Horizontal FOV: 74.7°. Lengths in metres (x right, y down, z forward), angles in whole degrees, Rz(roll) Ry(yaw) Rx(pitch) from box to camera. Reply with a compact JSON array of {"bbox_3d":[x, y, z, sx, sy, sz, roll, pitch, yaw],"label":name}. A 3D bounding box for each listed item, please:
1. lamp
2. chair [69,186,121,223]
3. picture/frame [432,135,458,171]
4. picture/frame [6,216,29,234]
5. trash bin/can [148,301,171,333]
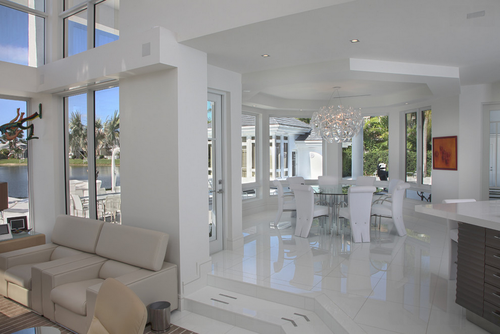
[{"bbox_3d":[1.956,-1.341,8.492,1.838,1.473,1.362,-1,0,23],"label":"lamp"},{"bbox_3d":[-2.957,0.751,6.338,0.997,0.464,0.688,5,8,25],"label":"chair"},{"bbox_3d":[4.805,-0.336,8.068,0.071,0.984,0.876,-1,3,-23],"label":"picture/frame"},{"bbox_3d":[-4.351,1.064,6.257,0.397,0.368,0.293,1,-3,-43],"label":"picture/frame"},{"bbox_3d":[-1.194,2.076,4.647,0.357,0.359,0.343,-1,2,-4],"label":"trash bin/can"}]
